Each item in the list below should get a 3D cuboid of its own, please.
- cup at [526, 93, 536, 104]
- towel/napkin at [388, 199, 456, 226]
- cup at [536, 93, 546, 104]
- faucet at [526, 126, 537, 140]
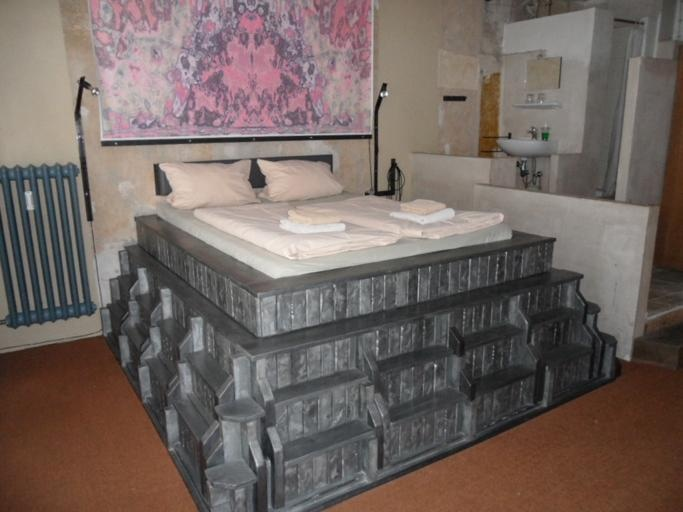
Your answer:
[{"bbox_3d":[2.423,-2.000,6.802,0.118,0.144,0.120,-1,18,0],"label":"cup"},{"bbox_3d":[0.634,-0.349,4.229,0.301,0.103,0.293,-13,19,-38],"label":"towel/napkin"},{"bbox_3d":[2.506,-1.975,6.712,0.087,0.122,0.098,-11,13,-29],"label":"cup"},{"bbox_3d":[2.445,-1.581,6.884,0.118,0.165,0.155,-13,14,-35],"label":"faucet"}]
